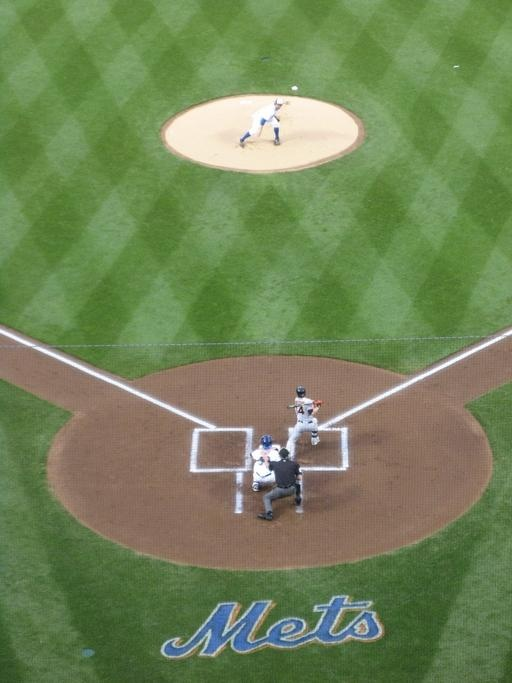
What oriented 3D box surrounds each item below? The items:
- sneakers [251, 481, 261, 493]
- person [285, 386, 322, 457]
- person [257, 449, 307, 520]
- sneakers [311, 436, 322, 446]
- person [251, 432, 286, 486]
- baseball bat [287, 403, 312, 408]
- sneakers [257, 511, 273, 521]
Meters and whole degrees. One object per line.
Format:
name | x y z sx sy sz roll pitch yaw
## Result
sneakers | 0.001 2.540 23.304 0.151 0.103 0.249 2 15 -4
person | 0.866 1.476 24.003 0.807 1.317 0.555 -13 25 -16
person | 0.480 2.394 22.882 0.713 1.175 0.766 4 8 40
sneakers | 1.094 1.810 24.331 0.137 0.191 0.173 2 27 9
person | 0.144 2.119 23.213 0.624 0.799 0.300 0 -9 5
baseball bat | 0.784 1.152 24.034 0.582 0.096 0.112 0 31 44
sneakers | 0.106 2.986 22.802 0.278 0.203 0.109 9 17 33
